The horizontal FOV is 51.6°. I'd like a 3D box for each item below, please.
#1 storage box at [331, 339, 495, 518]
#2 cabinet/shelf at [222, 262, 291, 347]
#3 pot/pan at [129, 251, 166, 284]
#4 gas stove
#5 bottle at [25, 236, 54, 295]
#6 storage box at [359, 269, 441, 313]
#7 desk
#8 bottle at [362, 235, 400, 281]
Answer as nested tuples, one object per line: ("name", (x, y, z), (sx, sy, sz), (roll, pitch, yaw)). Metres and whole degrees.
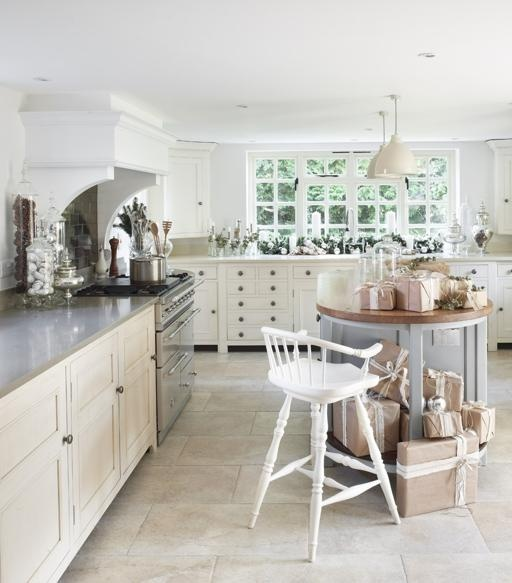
("storage box", (0.801, 0.609, 2.576), (0.627, 0.550, 0.805), (3, 11, 29))
("cabinet/shelf", (0.064, 0.141, 5.605), (0.785, 0.861, 0.439), (-1, -1, 17))
("pot/pan", (-0.692, -0.150, 3.390), (0.200, 0.157, 0.191), (1, 7, 11))
("gas stove", (-0.768, -0.030, 3.321), (0.530, 0.062, 0.843), (-1, 5, 3))
("bottle", (-1.073, -0.119, 2.641), (0.102, 0.278, 0.153), (4, 8, 44))
("storage box", (0.665, 0.013, 2.416), (0.234, 0.107, 0.239), (3, 7, 44))
("desk", (0.610, 0.331, 2.625), (0.664, 0.464, 0.612), (-4, -5, 8))
("bottle", (0.632, -0.165, 2.738), (0.221, 0.324, 0.211), (1, -1, 0))
